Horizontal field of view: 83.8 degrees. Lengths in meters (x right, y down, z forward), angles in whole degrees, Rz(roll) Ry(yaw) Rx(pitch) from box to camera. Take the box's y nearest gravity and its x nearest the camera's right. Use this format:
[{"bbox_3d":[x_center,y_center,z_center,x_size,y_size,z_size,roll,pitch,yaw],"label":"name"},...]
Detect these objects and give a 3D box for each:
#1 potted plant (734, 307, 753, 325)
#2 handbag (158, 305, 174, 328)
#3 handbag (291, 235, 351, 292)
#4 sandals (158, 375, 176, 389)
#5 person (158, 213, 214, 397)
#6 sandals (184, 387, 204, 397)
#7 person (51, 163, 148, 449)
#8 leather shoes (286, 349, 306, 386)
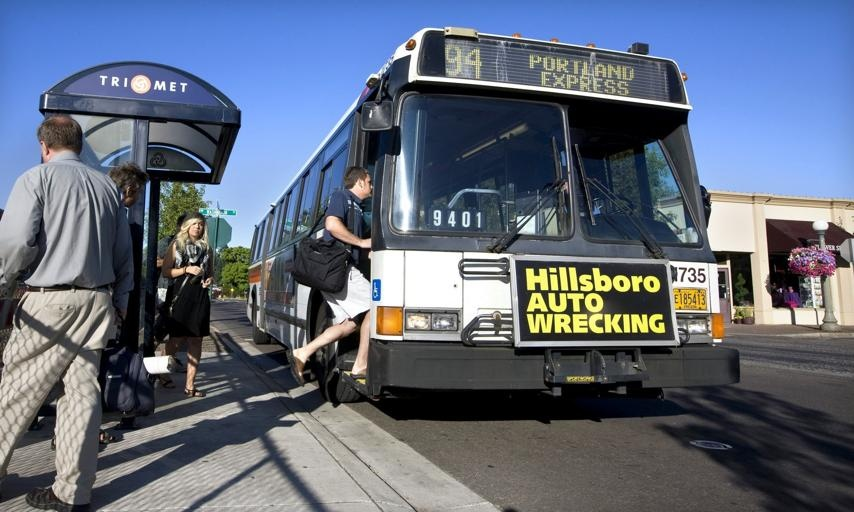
[{"bbox_3d":[18.902,3.595,28.269,0.974,1.033,0.945,6,-3,-16],"label":"potted plant"},{"bbox_3d":[-3.963,0.917,7.240,0.211,0.291,0.067,5,-3,17],"label":"handbag"},{"bbox_3d":[-1.430,0.092,6.408,0.713,0.718,0.412,17,6,14],"label":"handbag"},{"bbox_3d":[-4.394,2.144,8.085,0.180,0.224,0.553,3,-10,-24],"label":"sandals"},{"bbox_3d":[-3.759,0.781,7.452,0.718,2.916,0.779,4,-5,-29],"label":"person"},{"bbox_3d":[-3.708,2.199,7.608,0.275,0.104,0.144,-1,1,3],"label":"sandals"},{"bbox_3d":[-4.298,0.272,6.696,0.866,0.857,3.233,1,-49,-22],"label":"person"},{"bbox_3d":[-1.720,1.489,6.313,0.173,0.603,0.217,-14,4,-15],"label":"leather shoes"}]
